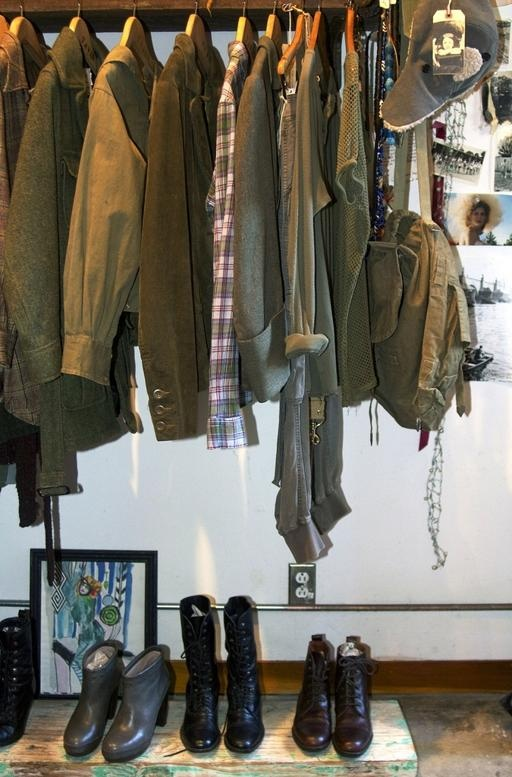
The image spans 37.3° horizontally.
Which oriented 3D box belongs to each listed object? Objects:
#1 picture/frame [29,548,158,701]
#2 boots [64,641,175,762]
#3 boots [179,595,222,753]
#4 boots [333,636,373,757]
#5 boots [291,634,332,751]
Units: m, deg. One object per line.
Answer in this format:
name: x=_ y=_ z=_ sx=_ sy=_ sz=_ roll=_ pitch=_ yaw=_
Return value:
picture/frame: x=-0.371 y=0.557 z=1.739 sx=0.319 sy=0.415 sz=0.028 roll=0 pitch=-3 yaw=1
boots: x=-0.280 y=0.638 z=1.572 sx=0.123 sy=0.097 sz=0.219 roll=2 pitch=16 yaw=10
boots: x=-0.078 y=0.593 z=1.609 sx=0.083 sy=0.188 sz=0.268 roll=-2 pitch=28 yaw=4
boots: x=0.204 y=0.651 z=1.605 sx=0.058 sy=0.086 sz=0.208 roll=-1 pitch=19 yaw=6
boots: x=0.121 y=0.638 z=1.607 sx=0.058 sy=0.089 sz=0.200 roll=2 pitch=22 yaw=7
